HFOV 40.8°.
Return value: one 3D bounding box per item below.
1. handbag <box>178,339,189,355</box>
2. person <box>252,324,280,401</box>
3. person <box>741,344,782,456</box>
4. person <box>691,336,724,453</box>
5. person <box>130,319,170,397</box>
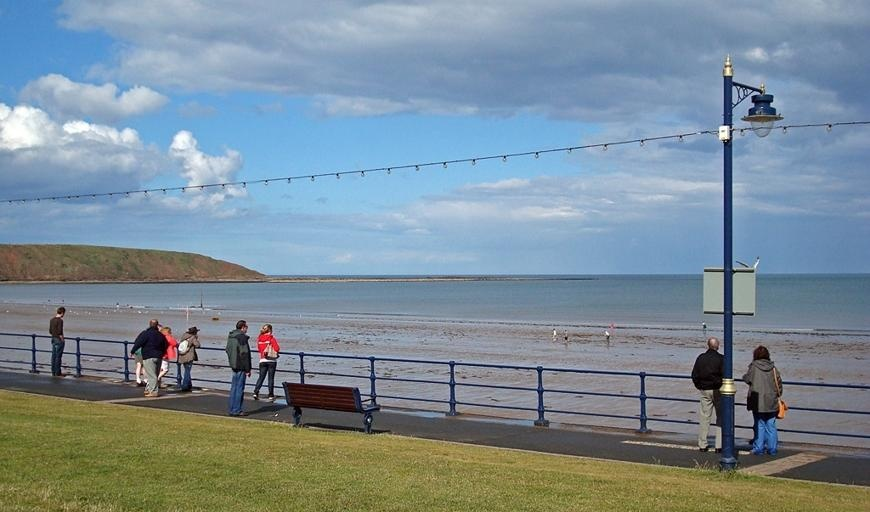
[{"bbox_3d":[-9.424,3.360,43.444,0.363,0.512,0.283,0,2,-24],"label":"handbag"},{"bbox_3d":[-6.161,3.882,42.635,1.180,2.858,1.002,-1,-2,-10],"label":"person"},{"bbox_3d":[10.485,4.538,37.237,1.228,3.370,0.957,1,0,30],"label":"person"},{"bbox_3d":[8.822,4.439,37.577,0.893,3.610,0.941,1,2,10],"label":"person"},{"bbox_3d":[-10.470,3.680,42.628,1.173,2.712,1.312,0,2,-15],"label":"person"}]
